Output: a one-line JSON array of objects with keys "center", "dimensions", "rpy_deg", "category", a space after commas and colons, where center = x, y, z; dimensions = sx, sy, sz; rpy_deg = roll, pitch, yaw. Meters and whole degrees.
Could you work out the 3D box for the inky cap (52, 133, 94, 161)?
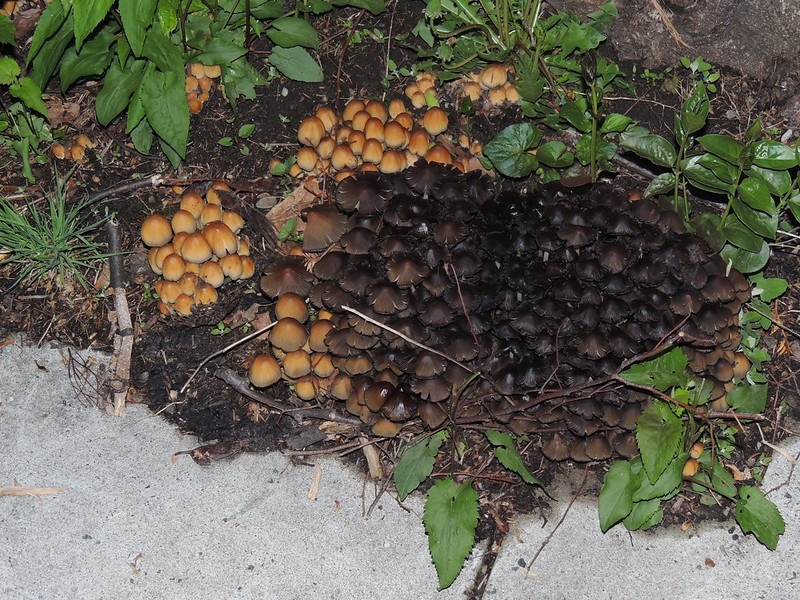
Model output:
[{"center": [-2.899, -1.349, 6.845], "dimensions": [0.292, 0.102, 0.219], "rpy_deg": [-11, 75, -8], "category": "inky cap"}]
